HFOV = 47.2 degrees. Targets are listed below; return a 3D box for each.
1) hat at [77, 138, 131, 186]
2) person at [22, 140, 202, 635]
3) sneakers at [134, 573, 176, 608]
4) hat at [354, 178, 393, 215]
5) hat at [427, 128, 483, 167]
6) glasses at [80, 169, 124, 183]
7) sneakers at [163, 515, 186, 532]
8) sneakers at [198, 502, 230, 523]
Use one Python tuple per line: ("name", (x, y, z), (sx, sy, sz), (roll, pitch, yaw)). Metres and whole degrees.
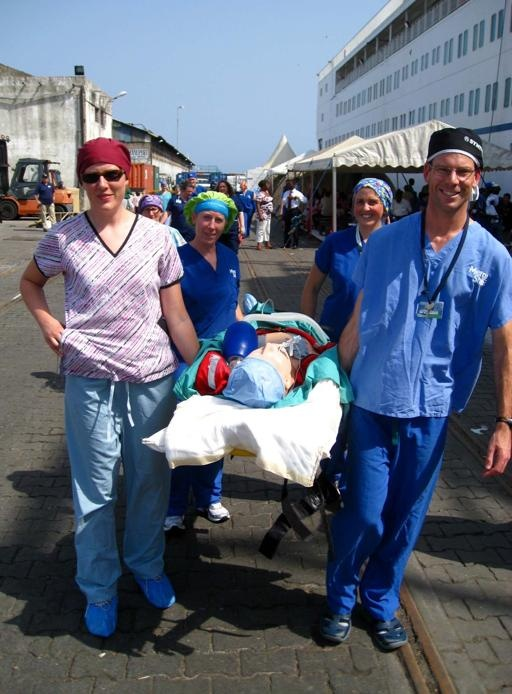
("hat", (-0.562, -0.706, 2.275), (0.171, 0.174, 0.194), (-8, 31, 2))
("person", (-0.555, 0.172, 2.353), (0.675, 1.957, 0.300), (0, 8, -19))
("sneakers", (-0.433, 1.076, 2.597), (0.103, 0.067, 0.189), (-4, 11, -33))
("hat", (0.697, -0.904, 3.454), (0.219, 0.198, 0.234), (-2, -23, 12))
("hat", (0.656, -0.686, 2.026), (0.180, 0.113, 0.175), (15, 13, 32))
("glasses", (-0.567, -0.625, 2.156), (0.089, 0.023, 0.081), (-6, 4, -3))
("sneakers", (-0.456, 0.990, 3.326), (0.080, 0.087, 0.205), (3, 3, 1))
("sneakers", (-0.234, 0.963, 3.467), (0.205, 0.084, 0.090), (6, 8, 27))
